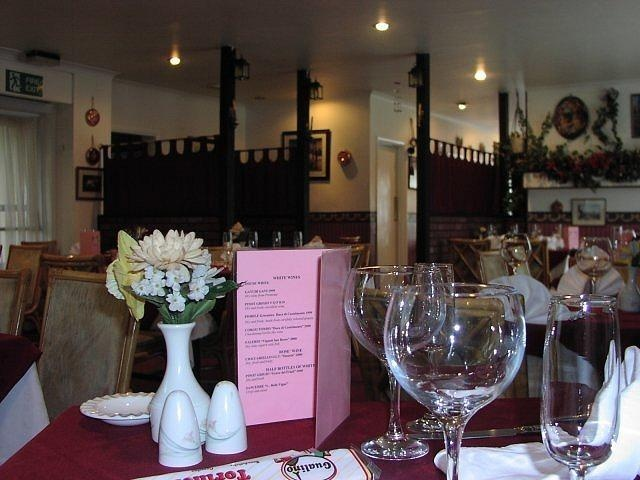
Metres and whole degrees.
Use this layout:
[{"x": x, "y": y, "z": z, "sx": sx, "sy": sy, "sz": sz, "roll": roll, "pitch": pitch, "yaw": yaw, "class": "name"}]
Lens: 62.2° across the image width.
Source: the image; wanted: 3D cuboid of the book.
[{"x": -0.043, "y": 0.190, "z": 1.069, "sx": 0.249, "sy": 0.364, "sz": 0.274, "roll": 0, "pitch": 1, "yaw": -10, "class": "book"}]

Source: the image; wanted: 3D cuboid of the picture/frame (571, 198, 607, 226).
[{"x": 4.195, "y": -0.446, "z": 8.244, "sx": 0.357, "sy": 0.347, "sz": 0.039, "roll": 6, "pitch": 11, "yaw": 35, "class": "picture/frame"}]

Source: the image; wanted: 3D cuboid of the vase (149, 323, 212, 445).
[{"x": -0.240, "y": 0.241, "z": 0.902, "sx": 0.098, "sy": 0.202, "sz": 0.151, "roll": -2, "pitch": 5, "yaw": -20, "class": "vase"}]

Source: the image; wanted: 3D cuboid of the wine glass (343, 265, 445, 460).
[{"x": 0.126, "y": 0.202, "z": 0.915, "sx": 0.190, "sy": 0.310, "sz": 0.208, "roll": -3, "pitch": -4, "yaw": 7, "class": "wine glass"}]

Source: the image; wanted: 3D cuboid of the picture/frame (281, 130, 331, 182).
[{"x": -0.222, "y": -1.484, "z": 9.268, "sx": 0.741, "sy": 0.875, "sz": 0.063, "roll": -1, "pitch": -10, "yaw": 1, "class": "picture/frame"}]

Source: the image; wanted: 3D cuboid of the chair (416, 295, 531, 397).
[{"x": 0.181, "y": 0.128, "z": 0.649, "sx": 0.125, "sy": 0.139, "sz": 0.111, "roll": 5, "pitch": 5, "yaw": 44, "class": "chair"}]

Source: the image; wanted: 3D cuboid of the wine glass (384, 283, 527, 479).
[{"x": 0.172, "y": 0.200, "z": 0.688, "sx": 0.161, "sy": 0.298, "sz": 0.106, "roll": -2, "pitch": 5, "yaw": -25, "class": "wine glass"}]

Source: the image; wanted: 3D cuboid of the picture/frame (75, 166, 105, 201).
[{"x": -3.474, "y": -0.866, "z": 7.967, "sx": 0.045, "sy": 0.493, "sz": 0.476, "roll": 2, "pitch": 4, "yaw": 30, "class": "picture/frame"}]
